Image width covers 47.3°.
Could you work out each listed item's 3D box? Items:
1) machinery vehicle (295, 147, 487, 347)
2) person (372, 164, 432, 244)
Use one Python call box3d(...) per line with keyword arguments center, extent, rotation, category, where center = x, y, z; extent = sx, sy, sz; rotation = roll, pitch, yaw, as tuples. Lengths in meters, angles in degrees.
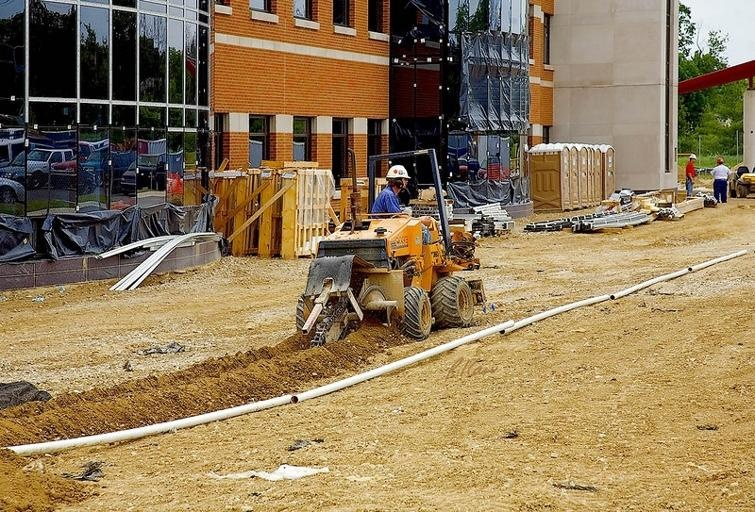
box3d(center=(0.259, -0.029, 14.865), extent=(1.648, 2.717, 4.685), rotation=(3, 10, 24), category="machinery vehicle")
box3d(center=(0.369, -0.870, 14.539), extent=(0.793, 1.211, 0.720), rotation=(-1, 2, 8), category="person")
